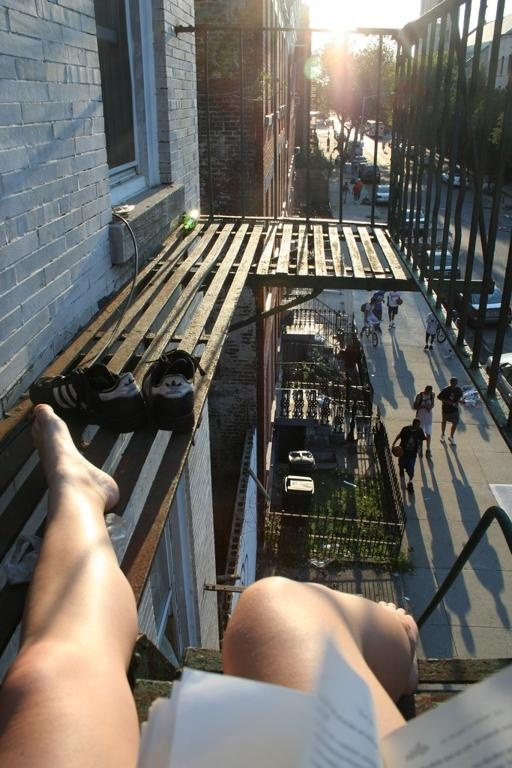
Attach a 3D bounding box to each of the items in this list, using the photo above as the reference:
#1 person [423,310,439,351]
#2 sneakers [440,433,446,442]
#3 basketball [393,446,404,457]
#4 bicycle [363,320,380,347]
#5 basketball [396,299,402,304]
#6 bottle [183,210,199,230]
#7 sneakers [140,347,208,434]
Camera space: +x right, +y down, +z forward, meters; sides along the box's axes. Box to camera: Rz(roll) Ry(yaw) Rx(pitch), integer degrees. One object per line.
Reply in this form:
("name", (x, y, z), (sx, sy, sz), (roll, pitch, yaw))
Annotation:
("person", (6.724, -2.172, 17.433), (0.459, 1.379, 1.786), (10, 29, 20))
("sneakers", (5.045, 1.380, 12.303), (0.093, 0.216, 0.329), (4, 48, 8))
("basketball", (3.303, 1.546, 10.587), (0.193, 0.260, 0.219), (-2, 29, -22))
("bicycle", (4.626, -1.941, 18.026), (0.522, 0.764, 1.257), (4, 45, -3))
("basketball", (5.566, -3.223, 17.773), (0.197, 0.292, 0.281), (1, 2, 20))
("bottle", (-0.811, -2.065, 5.736), (0.110, 0.154, 0.407), (6, 39, 5))
("sneakers", (-0.440, 0.019, 2.363), (0.195, 0.234, 0.487), (2, 24, -3))
